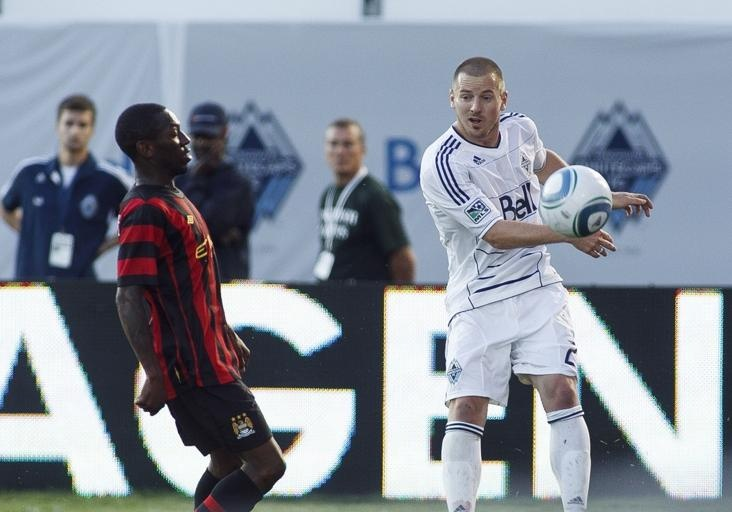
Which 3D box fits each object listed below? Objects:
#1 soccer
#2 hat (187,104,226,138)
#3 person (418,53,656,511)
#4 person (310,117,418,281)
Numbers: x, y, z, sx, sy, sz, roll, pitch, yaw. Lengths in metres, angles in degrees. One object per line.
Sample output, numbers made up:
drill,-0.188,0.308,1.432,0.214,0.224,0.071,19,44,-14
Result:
soccer,1.368,-0.368,10.673,0.469,0.465,0.190,0,3,9
hat,-1.246,-1.084,12.860,0.205,0.315,0.142,0,2,-4
person,0.919,0.165,10.879,1.098,3.015,0.548,0,3,2
person,0.029,-0.469,12.901,0.814,1.716,0.578,-18,-26,37
